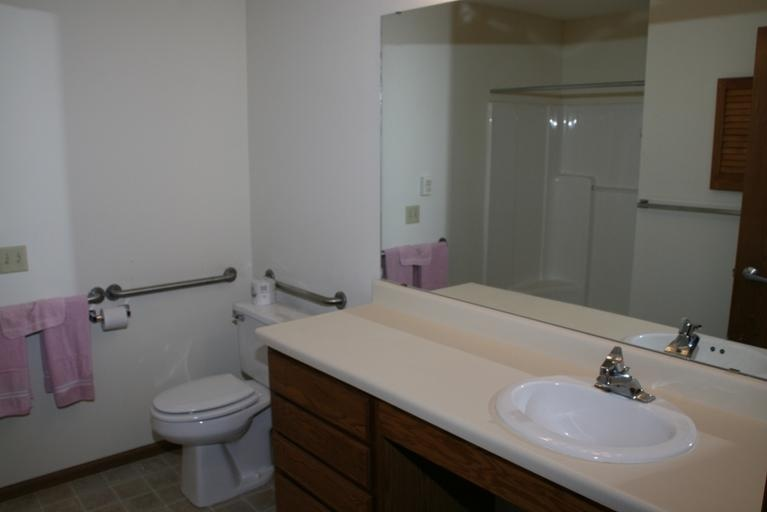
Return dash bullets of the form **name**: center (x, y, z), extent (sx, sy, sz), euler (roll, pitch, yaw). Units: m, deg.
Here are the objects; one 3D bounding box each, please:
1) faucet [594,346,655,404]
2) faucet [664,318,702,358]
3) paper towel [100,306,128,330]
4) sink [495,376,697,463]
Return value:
- **faucet**: center (0.774, 0.382, 1.763), extent (0.122, 0.162, 0.203), euler (-6, 9, -37)
- **faucet**: center (1.021, 0.281, 1.804), extent (0.044, 0.122, 0.077), euler (29, -8, -41)
- **paper towel**: center (-1.401, 0.320, 2.793), extent (0.153, 0.146, 0.114), euler (-2, 3, -33)
- **sink**: center (0.630, 0.547, 1.624), extent (0.529, 0.165, 0.363), euler (9, 16, 37)
